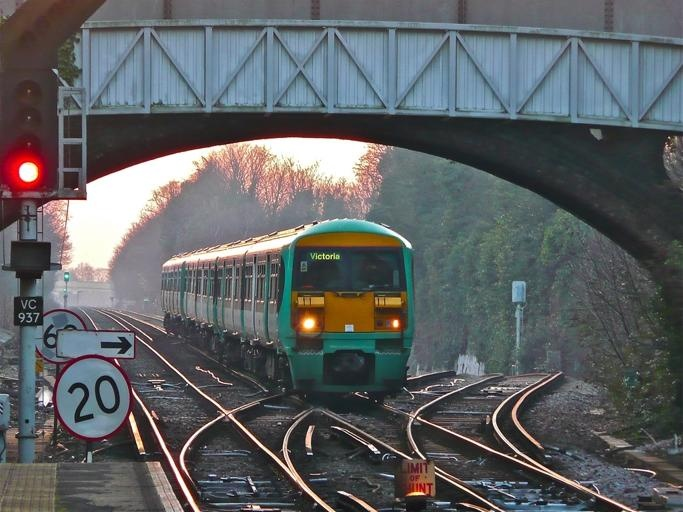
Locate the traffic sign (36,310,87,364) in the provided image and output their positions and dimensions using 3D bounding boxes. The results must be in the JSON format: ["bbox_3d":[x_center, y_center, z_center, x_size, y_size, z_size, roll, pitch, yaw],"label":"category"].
[{"bbox_3d":[-4.240,1.202,15.288,0.990,1.100,0.059,2,9,26],"label":"traffic sign"}]
